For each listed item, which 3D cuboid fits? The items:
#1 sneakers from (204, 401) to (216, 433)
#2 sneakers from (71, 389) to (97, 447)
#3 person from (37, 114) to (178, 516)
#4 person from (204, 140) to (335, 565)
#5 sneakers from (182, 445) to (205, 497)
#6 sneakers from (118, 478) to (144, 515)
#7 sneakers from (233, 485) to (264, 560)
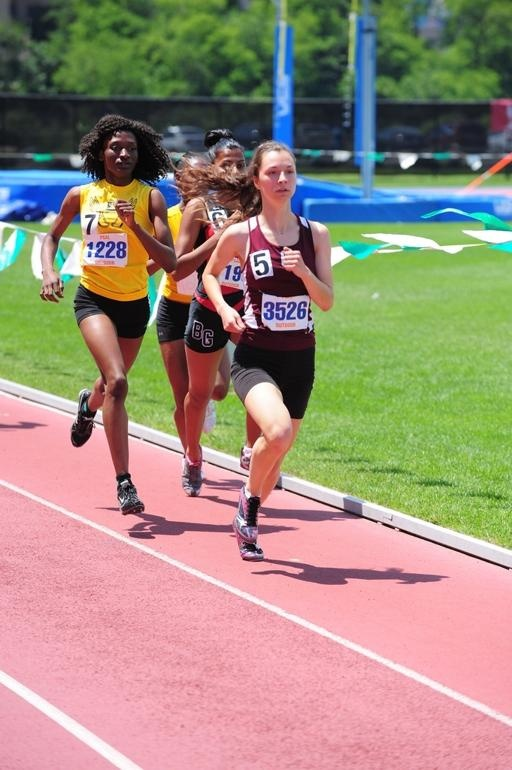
[{"bbox_3d":[-0.283,0.195,5.206,0.060,0.173,0.113,8,0,3],"label":"sneakers"},{"bbox_3d":[-1.040,0.222,5.167,0.143,0.376,0.169,3,27,-26],"label":"sneakers"},{"bbox_3d":[-0.782,-0.417,4.434,0.668,1.993,0.945,1,10,-9],"label":"person"},{"bbox_3d":[0.053,-0.106,3.729,0.567,1.890,0.726,1,10,-7],"label":"person"},{"bbox_3d":[-0.360,0.507,4.896,0.098,0.247,0.113,-1,9,-4],"label":"sneakers"},{"bbox_3d":[-0.621,0.564,4.213,0.109,0.197,0.151,0,10,-13],"label":"sneakers"},{"bbox_3d":[-0.097,0.619,3.833,0.127,0.336,0.254,-5,-5,-23],"label":"sneakers"}]
